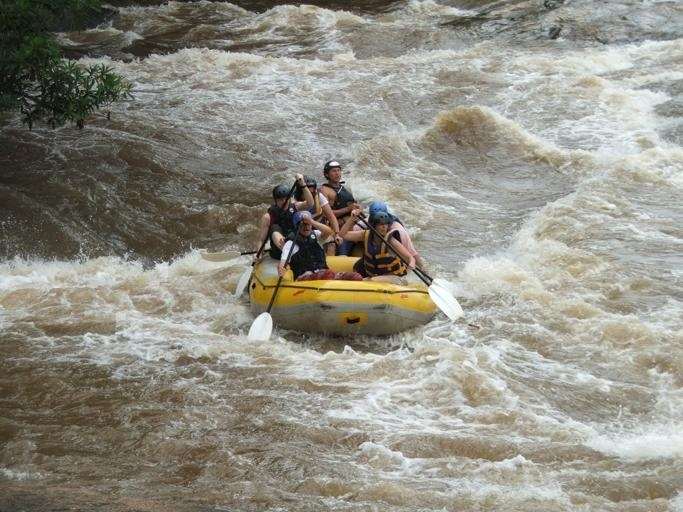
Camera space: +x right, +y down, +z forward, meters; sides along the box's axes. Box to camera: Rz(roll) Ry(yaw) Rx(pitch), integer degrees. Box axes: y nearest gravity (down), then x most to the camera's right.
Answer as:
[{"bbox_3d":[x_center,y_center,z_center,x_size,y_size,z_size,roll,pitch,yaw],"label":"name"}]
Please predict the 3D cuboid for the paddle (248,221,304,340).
[{"bbox_3d":[-0.857,0.418,12.676,0.440,0.119,2.199,20,52,13],"label":"paddle"}]

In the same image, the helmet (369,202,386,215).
[{"bbox_3d":[0.593,-0.758,13.102,0.489,0.140,0.521,2,8,2],"label":"helmet"}]

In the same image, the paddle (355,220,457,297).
[{"bbox_3d":[1.038,0.088,13.412,2.623,0.321,0.109,30,-13,3],"label":"paddle"}]
